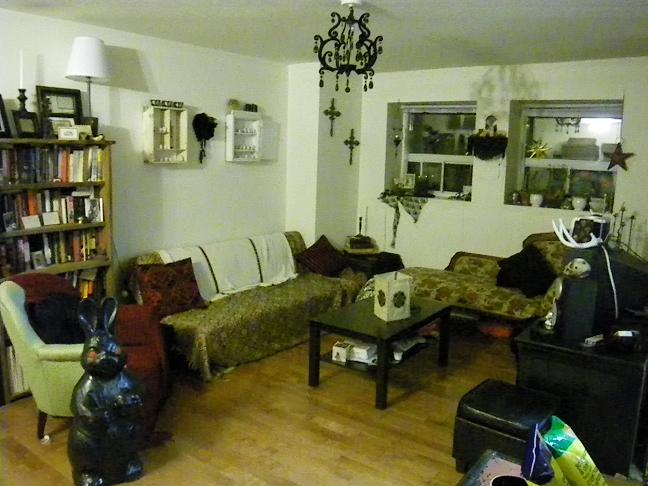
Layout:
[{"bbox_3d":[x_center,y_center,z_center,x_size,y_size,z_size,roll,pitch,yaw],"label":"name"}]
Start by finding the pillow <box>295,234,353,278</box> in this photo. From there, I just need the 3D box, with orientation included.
[{"bbox_3d":[-0.021,0.184,5.868,0.497,0.464,0.147,-42,-1,-39],"label":"pillow"}]

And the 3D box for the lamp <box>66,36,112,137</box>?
[{"bbox_3d":[-1.993,-1.391,4.250,0.328,0.717,0.391,-8,14,-24],"label":"lamp"}]

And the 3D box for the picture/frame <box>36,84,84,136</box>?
[{"bbox_3d":[-2.201,-1.088,4.173,0.063,0.486,0.445,-3,11,37],"label":"picture/frame"}]

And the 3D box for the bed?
[{"bbox_3d":[1.623,0.486,5.632,1.866,1.017,1.117,10,20,30],"label":"bed"}]

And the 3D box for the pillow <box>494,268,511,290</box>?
[{"bbox_3d":[1.875,0.383,5.323,0.220,0.187,0.163,1,-6,38],"label":"pillow"}]

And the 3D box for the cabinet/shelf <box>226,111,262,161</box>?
[{"bbox_3d":[-0.903,-1.186,5.623,0.426,0.540,0.160,-12,16,-38],"label":"cabinet/shelf"}]

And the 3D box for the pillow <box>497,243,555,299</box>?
[{"bbox_3d":[2.079,0.286,5.254,0.607,0.477,0.307,7,15,37],"label":"pillow"}]

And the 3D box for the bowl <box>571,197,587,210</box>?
[{"bbox_3d":[2.707,-0.415,5.398,0.158,0.140,0.139,8,19,25],"label":"bowl"}]

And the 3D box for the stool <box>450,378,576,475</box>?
[{"bbox_3d":[1.182,1.181,3.266,0.612,0.402,0.592,5,14,28],"label":"stool"}]

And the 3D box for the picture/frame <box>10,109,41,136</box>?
[{"bbox_3d":[-2.363,-0.944,3.977,0.035,0.229,0.246,-9,7,25],"label":"picture/frame"}]

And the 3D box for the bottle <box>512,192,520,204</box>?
[{"bbox_3d":[2.183,-0.511,5.768,0.090,0.127,0.106,-5,12,-12],"label":"bottle"}]

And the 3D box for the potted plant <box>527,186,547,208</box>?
[{"bbox_3d":[2.404,-0.515,5.789,0.215,0.294,0.203,3,9,18],"label":"potted plant"}]

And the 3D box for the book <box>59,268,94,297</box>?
[{"bbox_3d":[-2.098,0.324,4.342,0.241,0.083,0.302,7,11,24],"label":"book"}]

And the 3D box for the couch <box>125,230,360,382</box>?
[{"bbox_3d":[-0.772,0.572,5.219,1.083,0.807,2.195,13,14,34],"label":"couch"}]

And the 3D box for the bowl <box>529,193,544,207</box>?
[{"bbox_3d":[2.349,-0.479,5.641,0.148,0.151,0.145,-1,12,0],"label":"bowl"}]

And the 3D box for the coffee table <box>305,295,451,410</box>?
[{"bbox_3d":[0.508,0.872,4.513,0.844,0.532,1.179,7,12,33],"label":"coffee table"}]
